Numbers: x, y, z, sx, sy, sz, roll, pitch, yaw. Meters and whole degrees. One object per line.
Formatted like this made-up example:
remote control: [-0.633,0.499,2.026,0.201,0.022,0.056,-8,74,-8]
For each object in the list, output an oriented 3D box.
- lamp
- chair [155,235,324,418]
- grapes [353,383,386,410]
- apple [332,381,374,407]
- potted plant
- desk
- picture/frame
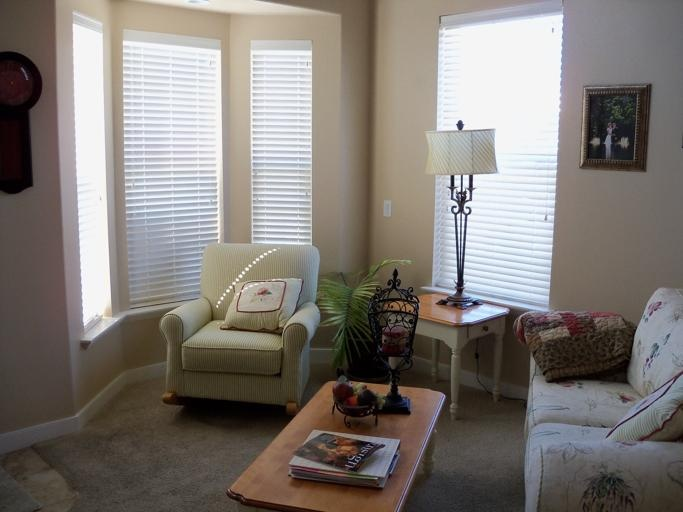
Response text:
lamp: [0.896,-0.332,4.203,0.512,1.359,0.587,3,14,12]
chair: [-0.696,0.529,4.180,1.055,1.056,0.942,2,15,7]
grapes: [0.149,0.755,2.946,0.093,0.096,0.170,-42,-10,-11]
apple: [0.061,0.740,2.948,0.158,0.083,0.122,12,0,11]
potted plant: [0.146,0.460,4.694,0.756,1.170,1.035,2,4,23]
desk: [0.820,0.744,4.249,0.607,0.781,0.778,-8,11,-37]
picture/frame: [1.817,-0.853,3.613,0.510,0.786,0.073,7,10,41]
